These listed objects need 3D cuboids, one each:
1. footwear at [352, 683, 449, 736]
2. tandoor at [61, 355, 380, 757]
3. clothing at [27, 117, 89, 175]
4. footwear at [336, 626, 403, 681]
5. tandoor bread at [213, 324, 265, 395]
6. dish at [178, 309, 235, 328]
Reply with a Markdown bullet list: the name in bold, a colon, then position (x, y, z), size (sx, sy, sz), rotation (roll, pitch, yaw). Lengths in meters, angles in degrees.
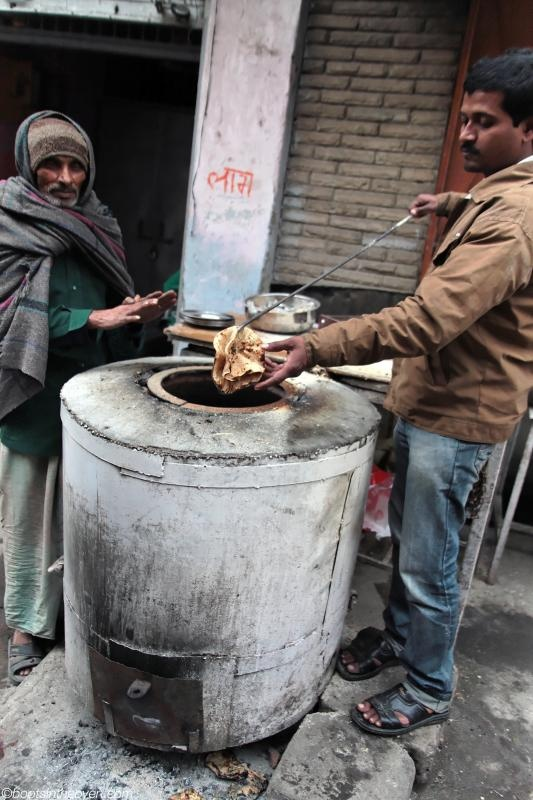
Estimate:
- **footwear**: position (0.440, 1.031, 2.388), size (0.287, 0.110, 0.129), rotation (5, 21, -19)
- **tandoor**: position (-0.270, 0.569, 2.615), size (1.068, 0.900, 1.085), rotation (12, 7, 44)
- **clothing**: position (-0.779, -0.954, 2.658), size (0.186, 0.193, 0.242), rotation (-8, 30, -26)
- **footwear**: position (0.374, 0.943, 2.653), size (0.277, 0.107, 0.127), rotation (-5, 18, -27)
- **tandoor bread**: position (-0.089, -0.134, 2.410), size (0.225, 0.203, 0.067), rotation (6, -4, 32)
- **dish**: position (-0.291, -0.408, 3.583), size (0.261, 0.063, 0.320), rotation (9, 13, -1)
